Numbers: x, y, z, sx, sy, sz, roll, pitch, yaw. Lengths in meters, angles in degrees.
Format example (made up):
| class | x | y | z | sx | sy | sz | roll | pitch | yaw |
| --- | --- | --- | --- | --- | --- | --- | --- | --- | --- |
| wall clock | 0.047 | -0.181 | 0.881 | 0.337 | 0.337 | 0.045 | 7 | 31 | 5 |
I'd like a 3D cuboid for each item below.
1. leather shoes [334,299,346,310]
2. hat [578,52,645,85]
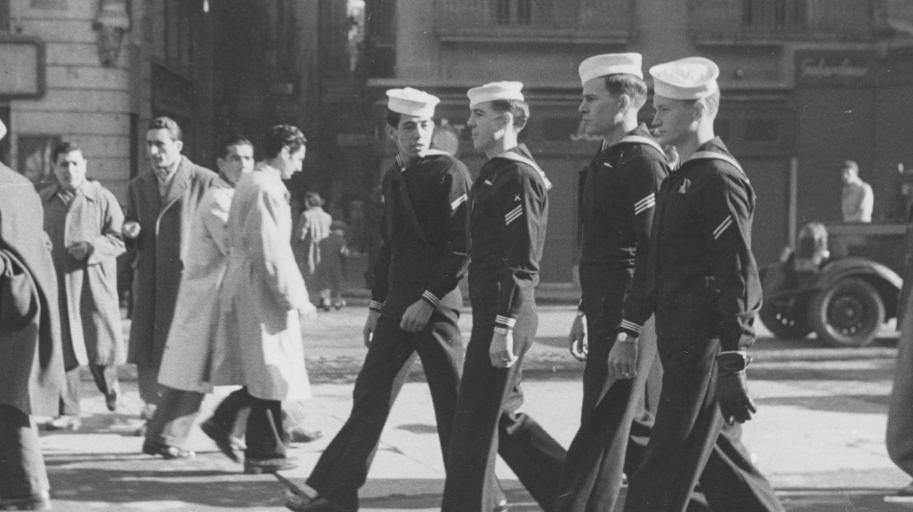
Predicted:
| class | x | y | z | sx | sy | sz | roll | pitch | yaw |
| --- | --- | --- | --- | --- | --- | --- | --- | --- | --- |
| leather shoes | -1.159 | 0.464 | 21.168 | 0.118 | 0.108 | 0.077 | -2 | 10 | -41 |
| hat | 1.307 | -1.634 | 18.567 | 0.413 | 0.145 | 0.340 | -5 | -4 | 22 |
